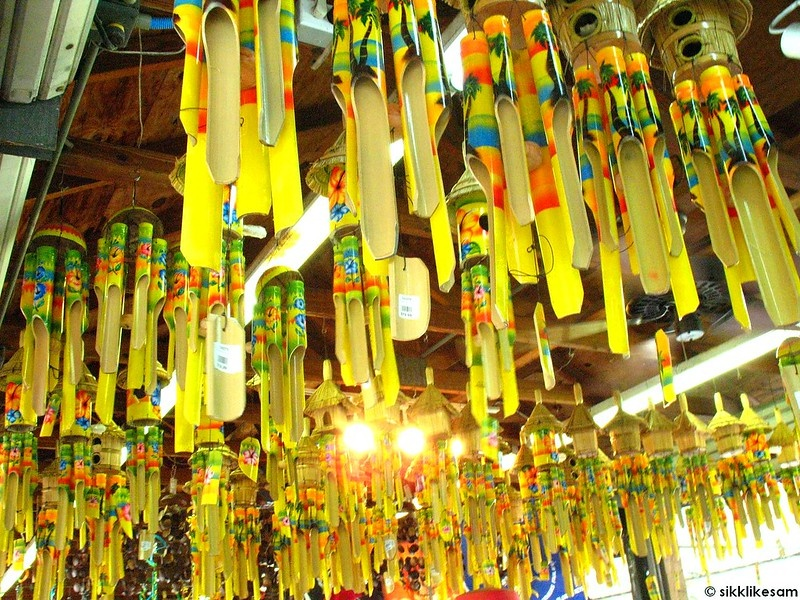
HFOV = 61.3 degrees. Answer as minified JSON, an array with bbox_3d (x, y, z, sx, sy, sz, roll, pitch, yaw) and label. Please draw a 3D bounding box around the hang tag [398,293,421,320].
[{"bbox_3d":[0.027,0.024,1.997,0.057,0.068,0.034,3,-14,-16],"label":"hang tag"}]
